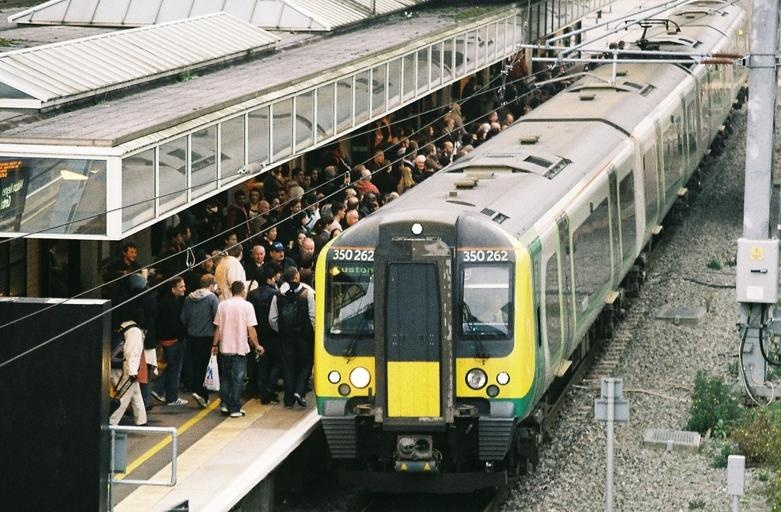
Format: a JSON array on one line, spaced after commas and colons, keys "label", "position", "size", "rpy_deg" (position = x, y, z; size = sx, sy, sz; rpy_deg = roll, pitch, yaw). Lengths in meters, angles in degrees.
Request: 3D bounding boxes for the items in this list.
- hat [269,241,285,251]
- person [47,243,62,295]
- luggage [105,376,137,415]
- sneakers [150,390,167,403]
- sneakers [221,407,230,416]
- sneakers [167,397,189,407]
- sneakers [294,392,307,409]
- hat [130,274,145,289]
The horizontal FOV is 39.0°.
[{"label": "hat", "position": [-1.887, -0.169, 18.244], "size": [0.154, 0.126, 0.211], "rpy_deg": [-7, 13, -41]}, {"label": "person", "position": [-5.683, 0.224, 18.653], "size": [0.244, 0.870, 0.113], "rpy_deg": [-2, -2, 1]}, {"label": "luggage", "position": [-3.822, 1.980, 15.823], "size": [0.447, 0.565, 0.415], "rpy_deg": [-2, -2, -23]}, {"label": "sneakers", "position": [-3.626, 2.200, 17.225], "size": [0.220, 0.196, 0.243], "rpy_deg": [-2, -2, -9]}, {"label": "sneakers", "position": [-2.532, 2.373, 16.889], "size": [0.076, 0.104, 0.223], "rpy_deg": [0, -1, 8]}, {"label": "sneakers", "position": [-3.320, 2.275, 17.197], "size": [0.304, 0.132, 0.112], "rpy_deg": [2, 4, -33]}, {"label": "sneakers", "position": [-1.389, 2.210, 17.039], "size": [0.117, 0.326, 0.127], "rpy_deg": [5, 29, 30]}, {"label": "hat", "position": [-3.732, 0.369, 16.350], "size": [0.206, 0.223, 0.168], "rpy_deg": [-14, 2, -2]}]
